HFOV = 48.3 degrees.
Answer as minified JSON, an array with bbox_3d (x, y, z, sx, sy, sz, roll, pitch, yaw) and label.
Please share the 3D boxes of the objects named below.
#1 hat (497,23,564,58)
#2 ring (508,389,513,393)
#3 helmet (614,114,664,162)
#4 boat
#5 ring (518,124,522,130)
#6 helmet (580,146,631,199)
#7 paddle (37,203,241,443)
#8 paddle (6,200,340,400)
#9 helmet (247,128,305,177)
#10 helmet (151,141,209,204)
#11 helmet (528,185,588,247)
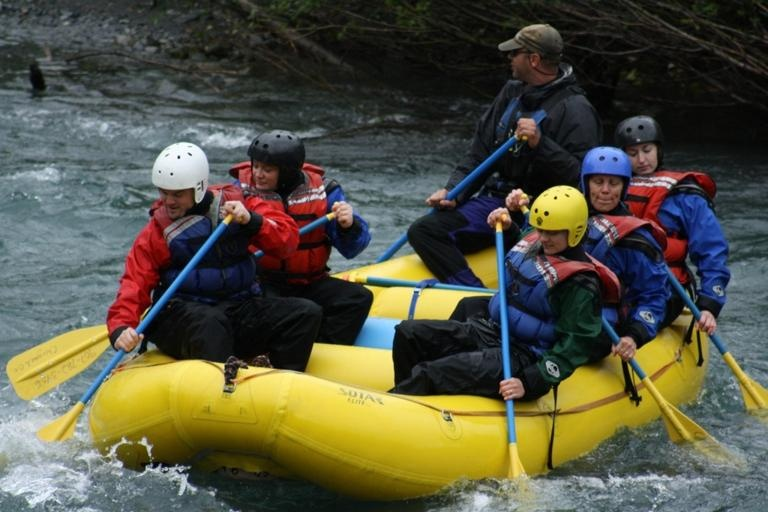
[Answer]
[{"bbox_3d":[1.439,-2.081,8.291,0.523,0.260,0.332,3,14,4],"label":"hat"},{"bbox_3d":[0.994,1.056,6.672,0.020,0.026,0.009,-1,-7,8],"label":"ring"},{"bbox_3d":[2.356,-1.105,7.838,0.350,0.423,0.459,-11,-8,10],"label":"helmet"},{"bbox_3d":[0.087,1.155,7.015,4.660,1.217,1.552,-2,15,-22],"label":"boat"},{"bbox_3d":[1.277,-1.206,7.996,0.026,0.011,0.044,-7,39,29],"label":"ring"},{"bbox_3d":[1.874,-0.733,7.338,0.352,0.396,0.437,5,0,2],"label":"helmet"},{"bbox_3d":[-2.028,0.622,7.146,0.392,2.583,0.284,41,-4,3],"label":"paddle"},{"bbox_3d":[-2.064,0.569,7.063,2.061,0.324,0.134,-27,-11,-6],"label":"paddle"},{"bbox_3d":[-0.872,-0.891,7.233,0.435,0.328,0.314,-14,30,-32],"label":"helmet"},{"bbox_3d":[-1.646,-0.664,6.909,0.514,0.428,0.402,-12,4,1],"label":"helmet"},{"bbox_3d":[1.383,-0.374,6.804,0.488,0.397,0.397,-17,31,-29],"label":"helmet"}]
